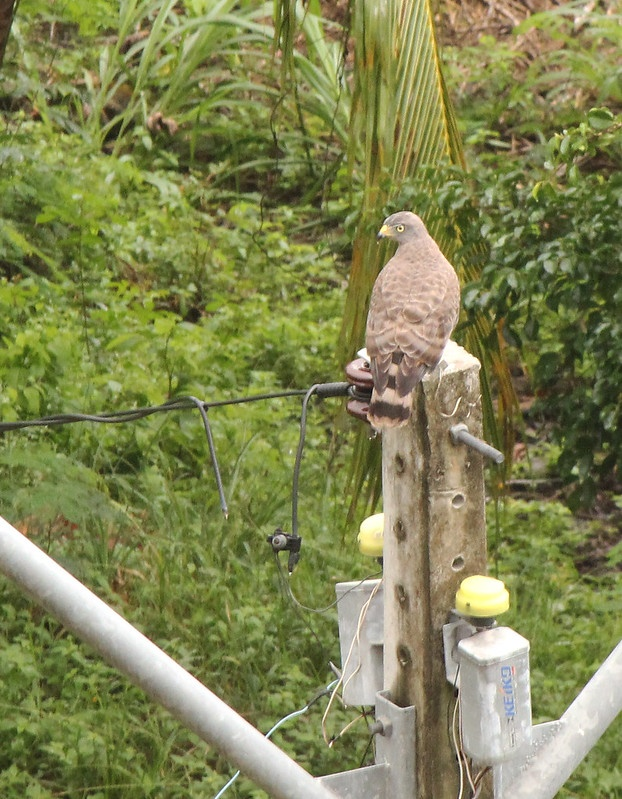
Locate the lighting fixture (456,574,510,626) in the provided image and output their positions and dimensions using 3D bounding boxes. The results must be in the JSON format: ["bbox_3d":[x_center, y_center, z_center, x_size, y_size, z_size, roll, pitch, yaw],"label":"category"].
[{"bbox_3d":[0.565,0.689,6.481,0.148,0.154,0.181,1,14,-1],"label":"lighting fixture"}]

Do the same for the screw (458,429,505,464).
[{"bbox_3d":[0.596,0.172,6.838,0.035,0.034,0.139,-29,54,-31],"label":"screw"}]

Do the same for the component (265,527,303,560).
[{"bbox_3d":[-0.074,0.487,6.481,0.070,0.092,0.112,3,-5,15],"label":"component"}]

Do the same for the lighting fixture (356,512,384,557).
[{"bbox_3d":[0.203,0.473,6.698,0.099,0.135,0.116,1,5,9],"label":"lighting fixture"}]

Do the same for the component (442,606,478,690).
[{"bbox_3d":[0.486,0.846,6.465,0.066,0.234,0.141,1,-9,-39],"label":"component"}]

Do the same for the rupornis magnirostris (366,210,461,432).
[{"bbox_3d":[0.339,-0.295,6.807,0.221,0.877,0.499,13,-42,-5],"label":"rupornis magnirostris"}]

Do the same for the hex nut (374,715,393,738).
[{"bbox_3d":[0.240,1.106,6.515,0.058,0.076,0.059,-1,-3,-41],"label":"hex nut"}]

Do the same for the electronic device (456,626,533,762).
[{"bbox_3d":[0.613,1.010,6.494,0.232,0.482,0.272,6,20,34],"label":"electronic device"}]
